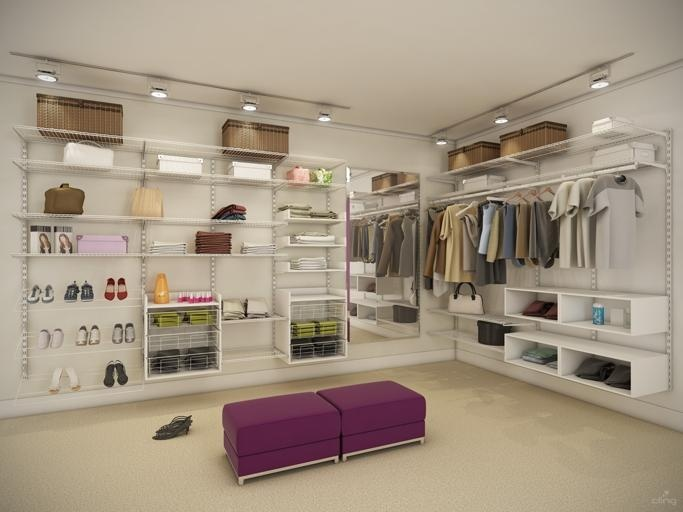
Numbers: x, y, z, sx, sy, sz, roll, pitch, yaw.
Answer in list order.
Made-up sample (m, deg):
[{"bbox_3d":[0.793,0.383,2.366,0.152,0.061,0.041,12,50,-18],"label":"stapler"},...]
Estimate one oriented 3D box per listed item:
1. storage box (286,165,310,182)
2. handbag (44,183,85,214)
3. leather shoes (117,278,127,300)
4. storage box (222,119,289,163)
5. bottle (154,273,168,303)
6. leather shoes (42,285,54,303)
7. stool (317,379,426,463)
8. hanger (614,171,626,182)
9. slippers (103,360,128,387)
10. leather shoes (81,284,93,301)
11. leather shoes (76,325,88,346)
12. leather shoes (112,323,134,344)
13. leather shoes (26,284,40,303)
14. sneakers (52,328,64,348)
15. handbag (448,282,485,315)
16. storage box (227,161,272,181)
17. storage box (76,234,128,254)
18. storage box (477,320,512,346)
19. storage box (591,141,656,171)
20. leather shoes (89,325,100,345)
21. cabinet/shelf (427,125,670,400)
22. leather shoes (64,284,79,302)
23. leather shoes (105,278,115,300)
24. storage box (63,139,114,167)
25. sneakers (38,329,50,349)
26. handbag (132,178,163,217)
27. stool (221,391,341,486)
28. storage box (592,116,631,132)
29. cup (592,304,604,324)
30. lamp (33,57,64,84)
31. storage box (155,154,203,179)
[{"bbox_3d":[-0.541,-1.059,6.306,0.235,0.154,0.240,1,-2,-18],"label":"storage box"},{"bbox_3d":[-3.045,-0.628,5.291,0.360,0.331,0.185,2,-4,-33],"label":"handbag"},{"bbox_3d":[-2.544,0.383,5.608,0.107,0.291,0.103,-2,-21,-32],"label":"leather shoes"},{"bbox_3d":[-1.069,-1.484,6.240,0.775,0.375,0.436,4,-4,-16],"label":"storage box"},{"bbox_3d":[-2.083,0.369,5.601,0.149,0.308,0.231,-1,11,-7],"label":"bottle"},{"bbox_3d":[-3.261,0.407,5.374,0.118,0.174,0.238,-7,12,-30],"label":"leather shoes"},{"bbox_3d":[0.268,1.527,4.734,0.879,0.454,0.611,-1,0,-28],"label":"stool"},{"bbox_3d":[2.981,-0.862,5.197,0.111,0.147,0.141,0,12,5],"label":"hanger"},{"bbox_3d":[-2.567,1.340,5.527,0.227,0.310,0.095,-2,-30,-17],"label":"slippers"},{"bbox_3d":[-2.888,0.392,5.500,0.119,0.167,0.260,-5,12,-25],"label":"leather shoes"},{"bbox_3d":[-2.906,0.892,5.445,0.093,0.101,0.286,0,12,-19],"label":"leather shoes"},{"bbox_3d":[-2.525,0.883,5.619,0.215,0.087,0.294,0,10,-21],"label":"leather shoes"},{"bbox_3d":[-3.403,0.423,5.357,0.129,0.209,0.160,-3,11,-16],"label":"leather shoes"},{"bbox_3d":[-3.134,0.891,5.351,0.085,0.098,0.249,0,31,-27],"label":"sneakers"},{"bbox_3d":[1.786,0.584,6.986,0.527,0.477,0.157,1,0,26],"label":"handbag"},{"bbox_3d":[-1.118,-1.060,5.981,0.380,0.135,0.276,1,-2,-25],"label":"storage box"},{"bbox_3d":[-2.671,-0.135,5.416,0.496,0.217,0.170,-5,12,-26],"label":"storage box"},{"bbox_3d":[2.038,1.043,6.529,0.317,0.373,0.549,3,-3,-34],"label":"storage box"},{"bbox_3d":[3.048,-1.093,5.208,0.604,0.258,0.344,5,12,26],"label":"storage box"},{"bbox_3d":[-2.785,0.887,5.463,0.093,0.099,0.277,2,5,-21],"label":"leather shoes"},{"bbox_3d":[2.735,0.203,6.296,0.820,2.576,2.685,12,-6,15],"label":"cabinet/shelf"},{"bbox_3d":[-3.039,0.410,5.458,0.161,0.199,0.243,-6,12,-30],"label":"leather shoes"},{"bbox_3d":[-2.655,0.373,5.556,0.109,0.101,0.310,1,38,-25],"label":"leather shoes"},{"bbox_3d":[-2.781,-1.112,5.317,0.487,0.271,0.164,-5,12,-26],"label":"storage box"},{"bbox_3d":[-3.261,0.907,5.298,0.084,0.099,0.247,0,10,-32],"label":"sneakers"},{"bbox_3d":[-2.245,-0.626,5.650,0.309,0.402,0.214,0,-12,-15],"label":"handbag"},{"bbox_3d":[-0.588,1.654,4.595,1.044,0.490,0.746,1,-1,-27],"label":"stool"},{"bbox_3d":[2.835,-1.353,5.115,0.192,0.125,0.260,0,-1,-36],"label":"storage box"},{"bbox_3d":[2.818,0.626,5.303,0.104,0.214,0.107,0,11,0],"label":"cup"},{"bbox_3d":[-3.056,-1.965,5.058,0.240,0.212,0.138,-6,12,-30],"label":"lamp"},{"bbox_3d":[-1.886,-1.065,5.640,0.397,0.165,0.281,0,2,-21],"label":"storage box"}]
